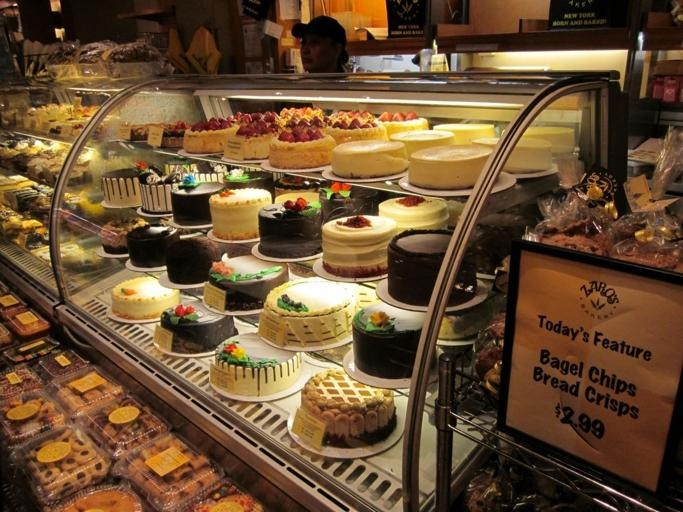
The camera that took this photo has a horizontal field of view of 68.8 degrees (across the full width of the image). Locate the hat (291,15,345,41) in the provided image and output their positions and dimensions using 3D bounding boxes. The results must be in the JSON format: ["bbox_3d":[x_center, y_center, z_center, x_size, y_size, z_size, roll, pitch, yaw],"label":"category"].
[{"bbox_3d":[-0.184,-2.019,4.411,0.475,0.161,0.261,2,27,-12],"label":"hat"}]
